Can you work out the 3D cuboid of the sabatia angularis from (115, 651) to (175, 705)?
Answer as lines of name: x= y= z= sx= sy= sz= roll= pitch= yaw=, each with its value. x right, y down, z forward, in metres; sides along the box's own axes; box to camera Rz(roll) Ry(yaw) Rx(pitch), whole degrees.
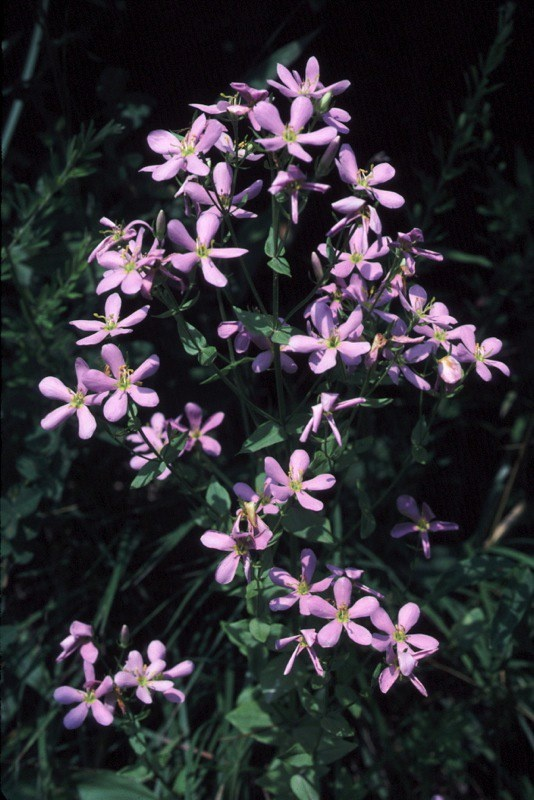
sabatia angularis: x=-0.208 y=0.476 z=1.323 sx=0.105 sy=0.029 sz=0.102 roll=-3 pitch=-3 yaw=32

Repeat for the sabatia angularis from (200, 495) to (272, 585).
sabatia angularis: x=-0.057 y=0.221 z=1.298 sx=0.122 sy=0.066 sz=0.131 roll=11 pitch=23 yaw=-31

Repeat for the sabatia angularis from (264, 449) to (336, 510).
sabatia angularis: x=0.050 y=0.130 z=1.298 sx=0.125 sy=0.043 sz=0.117 roll=16 pitch=12 yaw=15

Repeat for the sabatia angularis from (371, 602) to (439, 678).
sabatia angularis: x=0.234 y=0.407 z=1.304 sx=0.130 sy=0.121 sz=0.050 roll=3 pitch=-11 yaw=-19

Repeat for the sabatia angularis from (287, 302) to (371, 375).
sabatia angularis: x=0.101 y=-0.114 z=1.280 sx=0.164 sy=0.038 sz=0.144 roll=-13 pitch=-4 yaw=-40

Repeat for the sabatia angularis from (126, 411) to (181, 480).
sabatia angularis: x=-0.203 y=0.091 z=1.580 sx=0.120 sy=0.036 sz=0.124 roll=-10 pitch=38 yaw=-4

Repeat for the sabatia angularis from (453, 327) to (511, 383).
sabatia angularis: x=0.395 y=-0.086 z=1.423 sx=0.095 sy=0.038 sz=0.093 roll=28 pitch=-18 yaw=-10

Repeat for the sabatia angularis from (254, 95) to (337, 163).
sabatia angularis: x=0.037 y=-0.435 z=1.216 sx=0.101 sy=0.035 sz=0.110 roll=3 pitch=-6 yaw=-21

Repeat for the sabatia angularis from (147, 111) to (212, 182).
sabatia angularis: x=-0.151 y=-0.414 z=1.289 sx=0.106 sy=0.081 sz=0.173 roll=-10 pitch=5 yaw=-13

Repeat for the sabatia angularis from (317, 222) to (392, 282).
sabatia angularis: x=0.155 y=-0.256 z=1.351 sx=0.119 sy=0.093 sz=0.116 roll=-9 pitch=5 yaw=5

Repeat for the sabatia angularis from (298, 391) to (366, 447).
sabatia angularis: x=0.090 y=0.028 z=1.230 sx=0.098 sy=0.094 sz=0.043 roll=-11 pitch=27 yaw=-22

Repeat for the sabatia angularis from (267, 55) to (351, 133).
sabatia angularis: x=0.066 y=-0.543 z=1.318 sx=0.124 sy=0.064 sz=0.129 roll=-3 pitch=10 yaw=14

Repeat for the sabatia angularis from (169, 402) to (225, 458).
sabatia angularis: x=-0.151 y=0.069 z=1.611 sx=0.133 sy=0.045 sz=0.122 roll=-9 pitch=35 yaw=-8

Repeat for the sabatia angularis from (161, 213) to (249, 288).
sabatia angularis: x=-0.103 y=-0.255 z=1.288 sx=0.141 sy=0.128 sz=0.071 roll=18 pitch=7 yaw=-11

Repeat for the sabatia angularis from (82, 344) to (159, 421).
sabatia angularis: x=-0.241 y=-0.035 z=1.249 sx=0.138 sy=0.061 sz=0.147 roll=16 pitch=33 yaw=17

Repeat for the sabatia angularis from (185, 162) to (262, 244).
sabatia angularis: x=-0.070 y=-0.375 z=1.316 sx=0.125 sy=0.045 sz=0.118 roll=12 pitch=6 yaw=-3

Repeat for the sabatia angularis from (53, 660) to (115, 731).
sabatia angularis: x=-0.312 y=0.520 z=1.334 sx=0.069 sy=0.076 sz=0.035 roll=-23 pitch=31 yaw=-5

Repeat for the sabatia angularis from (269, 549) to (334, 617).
sabatia angularis: x=0.055 y=0.308 z=1.306 sx=0.085 sy=0.032 sz=0.092 roll=-5 pitch=5 yaw=15

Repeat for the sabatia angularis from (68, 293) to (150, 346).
sabatia angularis: x=-0.282 y=-0.139 z=1.347 sx=0.124 sy=0.035 sz=0.132 roll=-9 pitch=-17 yaw=-40

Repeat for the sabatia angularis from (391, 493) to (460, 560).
sabatia angularis: x=0.288 y=0.235 z=1.455 sx=0.089 sy=0.041 sz=0.088 roll=24 pitch=2 yaw=-25
